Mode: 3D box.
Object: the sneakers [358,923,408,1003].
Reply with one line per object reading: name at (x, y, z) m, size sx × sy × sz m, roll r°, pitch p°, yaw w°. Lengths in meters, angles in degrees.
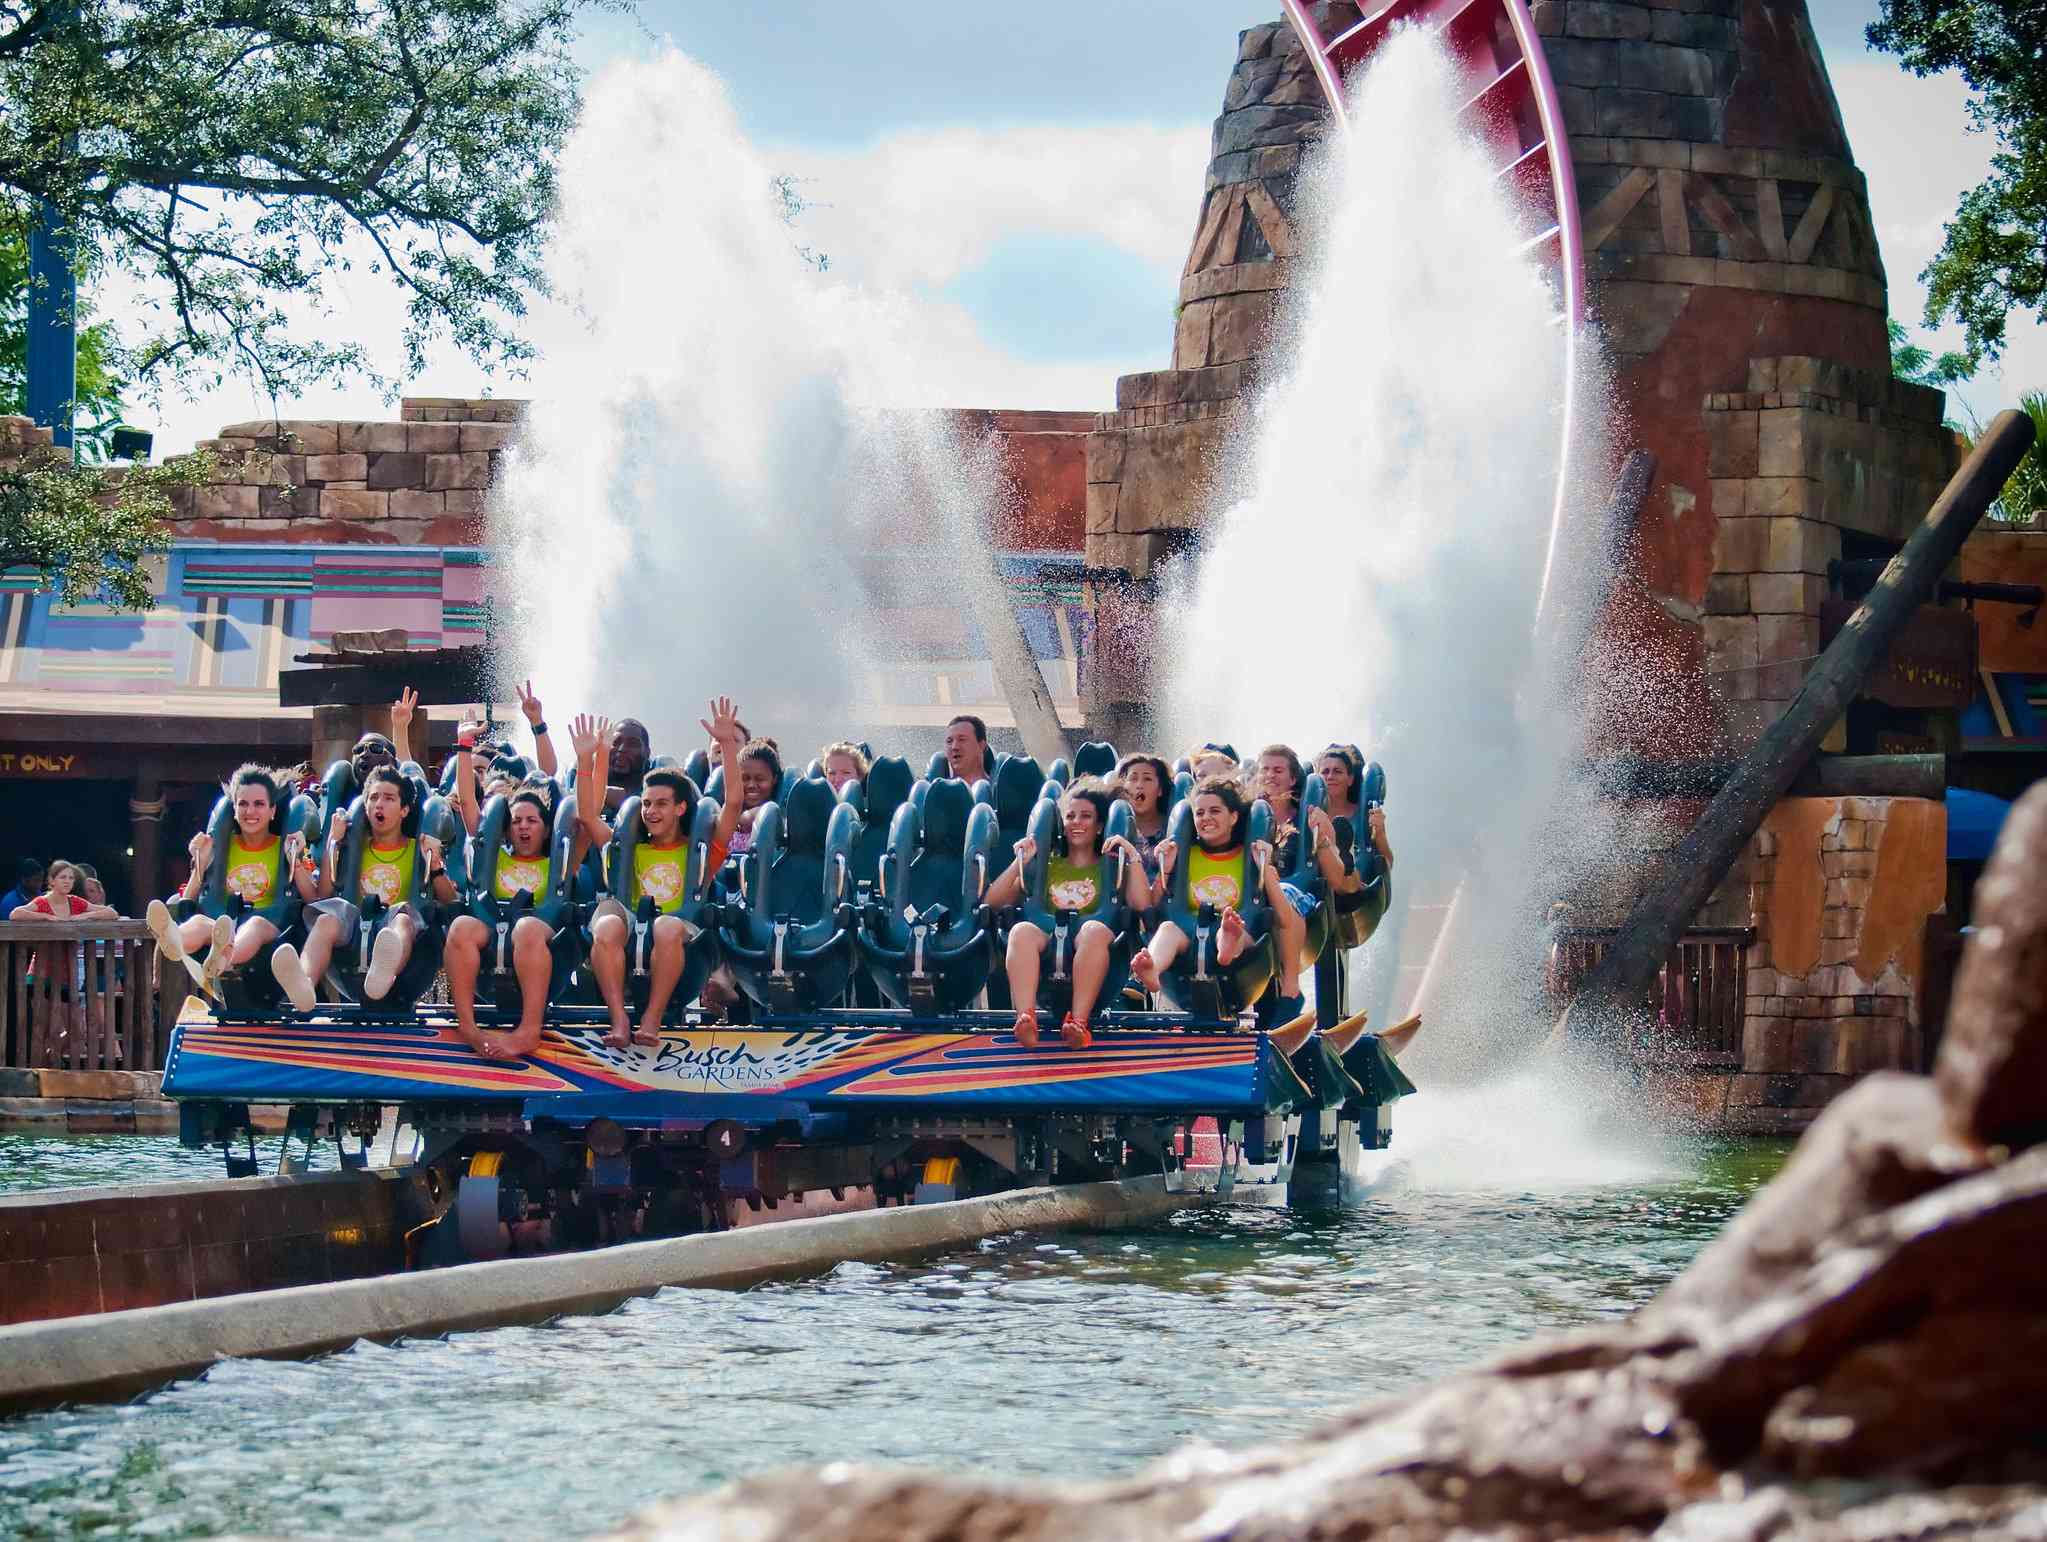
sneakers at (-3.299, 0.933, 18.354) m, size 0.171 × 0.420 × 0.164 m, roll 17°, pitch -8°, yaw 11°
